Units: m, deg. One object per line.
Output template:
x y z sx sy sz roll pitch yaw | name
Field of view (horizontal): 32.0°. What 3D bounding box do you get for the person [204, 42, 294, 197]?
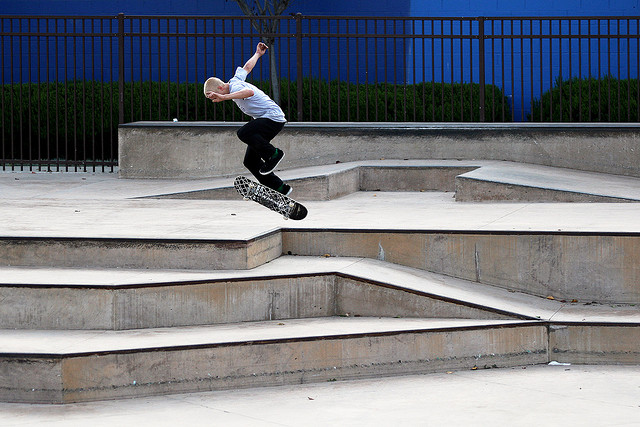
-0.908 -1.271 15.406 1.449 1.967 0.864 1 2 12 | person
